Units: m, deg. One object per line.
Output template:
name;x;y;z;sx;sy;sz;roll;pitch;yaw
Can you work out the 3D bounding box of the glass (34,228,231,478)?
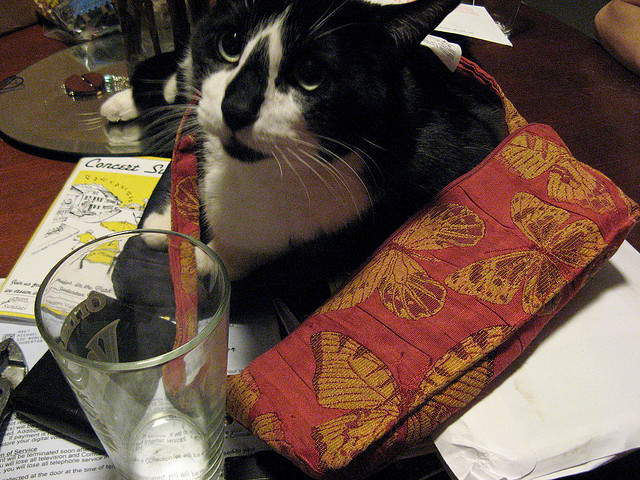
glass;-0.166;0.111;0.556;0.162;0.177;0.186;4;51;-1
